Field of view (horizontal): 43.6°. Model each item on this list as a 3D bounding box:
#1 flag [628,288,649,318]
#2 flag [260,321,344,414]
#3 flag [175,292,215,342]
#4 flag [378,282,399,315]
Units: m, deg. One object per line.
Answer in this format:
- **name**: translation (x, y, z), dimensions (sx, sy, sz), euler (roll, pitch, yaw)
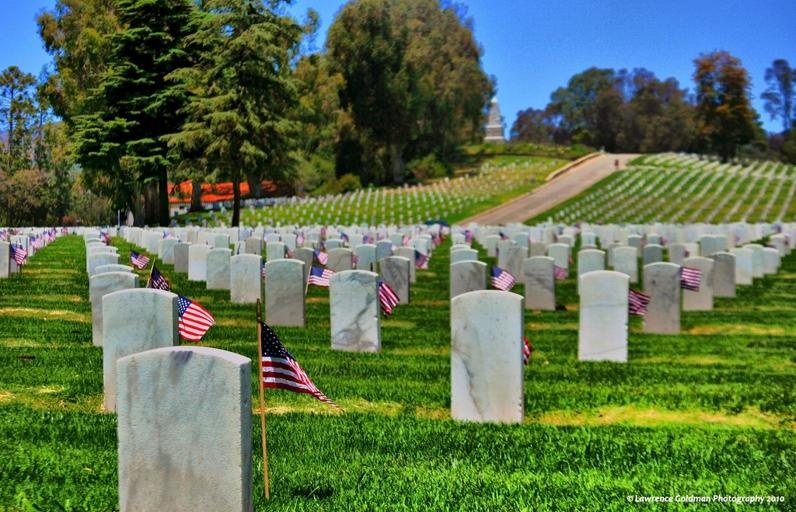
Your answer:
- **flag**: translation (7.562, 1.472, 32.022), dimensions (1.022, 0.640, 0.418), euler (0, 2, -44)
- **flag**: translation (-2.863, 3.423, 29.518), dimensions (2.102, 2.806, 0.306), euler (12, 30, 19)
- **flag**: translation (-6.078, 1.886, 29.718), dimensions (0.936, 1.400, 0.621), euler (1, 1, -14)
- **flag**: translation (-0.387, 1.412, 32.840), dimensions (0.161, 0.787, 0.948), euler (17, -22, 51)
